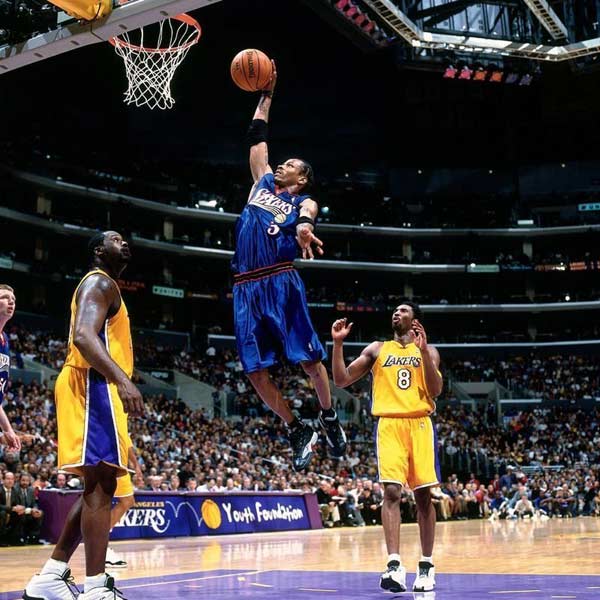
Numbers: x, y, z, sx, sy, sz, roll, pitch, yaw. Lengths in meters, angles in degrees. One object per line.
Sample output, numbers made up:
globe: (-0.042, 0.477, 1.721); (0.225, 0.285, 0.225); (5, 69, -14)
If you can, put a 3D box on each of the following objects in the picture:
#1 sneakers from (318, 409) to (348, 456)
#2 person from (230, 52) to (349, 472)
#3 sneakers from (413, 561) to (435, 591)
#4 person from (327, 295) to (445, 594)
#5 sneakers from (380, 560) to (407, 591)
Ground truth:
sneakers: (0.259, 1.180, 7.534); (0.162, 0.505, 0.194); (-16, 11, 7)
person: (-0.109, -0.385, 7.320); (0.844, 3.580, 0.900); (-6, -10, 26)
sneakers: (0.956, 2.177, 6.861); (0.167, 0.212, 0.297); (-3, -10, 6)
person: (0.756, 1.161, 7.267); (0.863, 2.415, 0.987); (-2, -9, 5)
sneakers: (0.699, 2.141, 6.694); (0.179, 0.243, 0.276); (-2, -9, 5)
